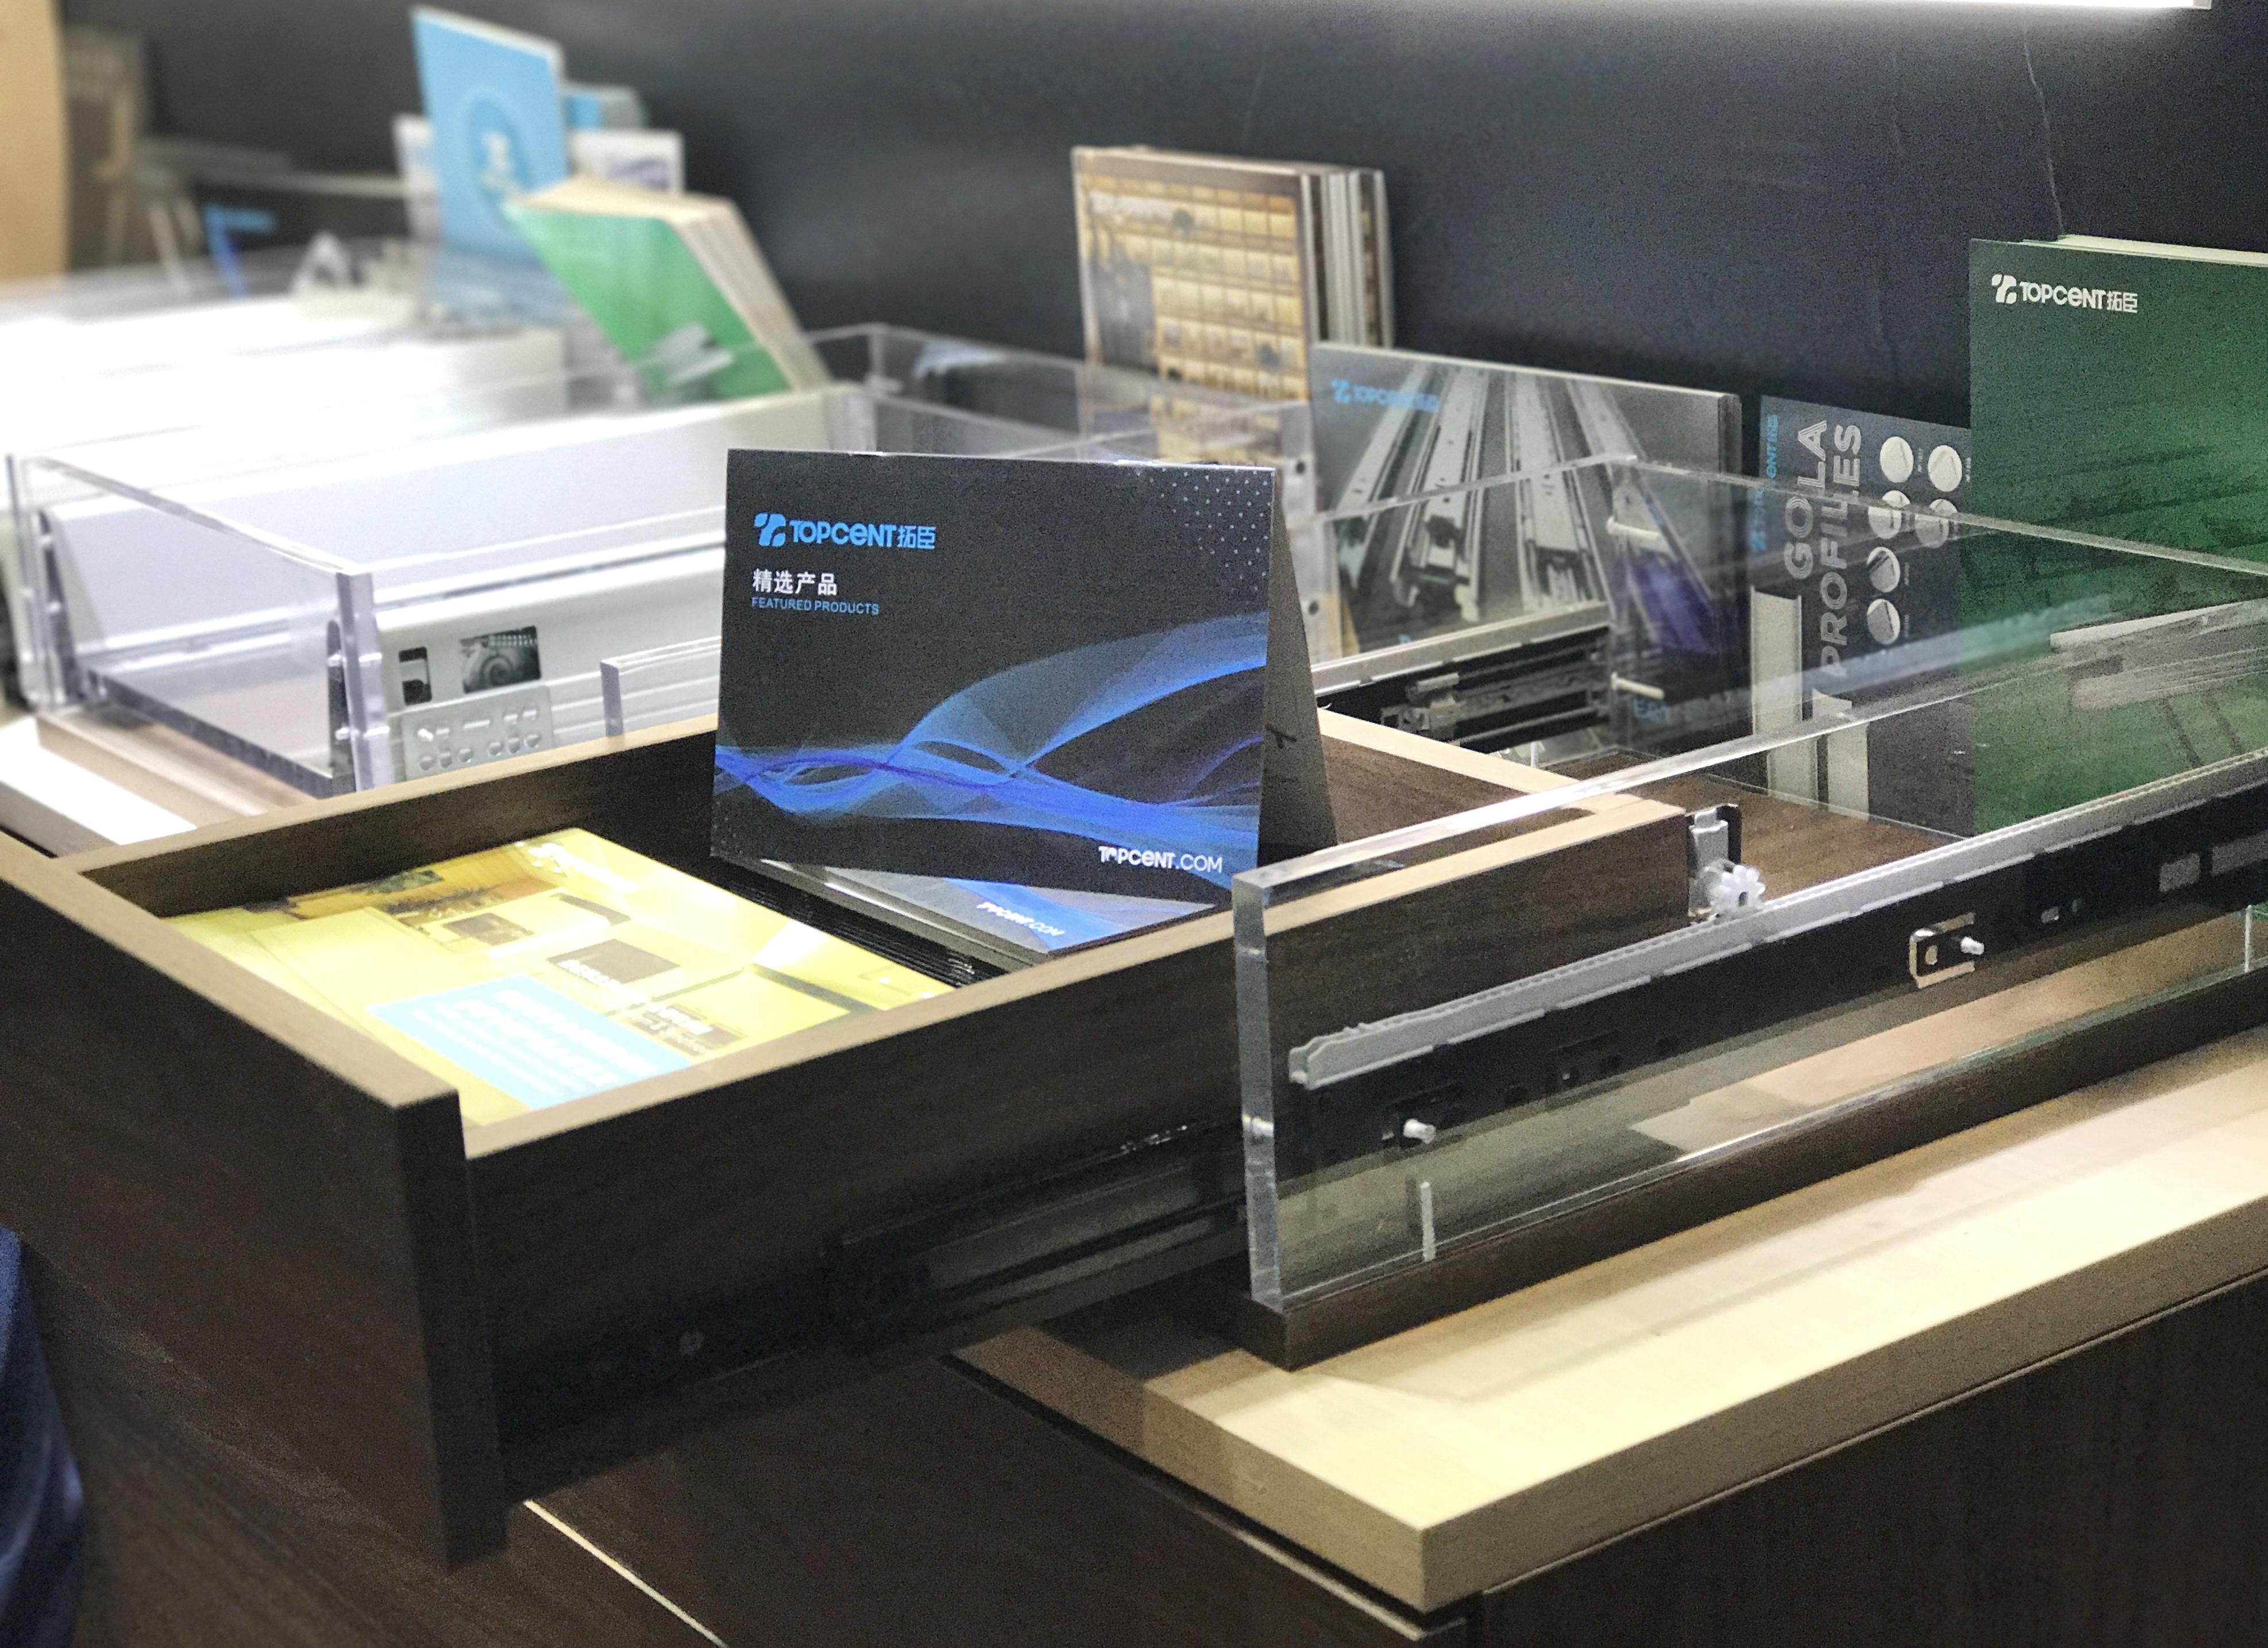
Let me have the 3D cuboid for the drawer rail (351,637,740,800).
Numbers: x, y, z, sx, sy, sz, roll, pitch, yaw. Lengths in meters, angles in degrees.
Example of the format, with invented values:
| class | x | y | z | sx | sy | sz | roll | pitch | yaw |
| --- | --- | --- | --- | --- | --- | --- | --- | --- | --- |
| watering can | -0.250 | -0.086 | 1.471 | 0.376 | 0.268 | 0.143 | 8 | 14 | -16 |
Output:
| class | x | y | z | sx | sy | sz | roll | pitch | yaw |
| --- | --- | --- | --- | --- | --- | --- | --- | --- | --- |
| drawer rail | -0.499 | -0.080 | 1.600 | 0.167 | 0.043 | 0.178 | -20 | 22 | -41 |
